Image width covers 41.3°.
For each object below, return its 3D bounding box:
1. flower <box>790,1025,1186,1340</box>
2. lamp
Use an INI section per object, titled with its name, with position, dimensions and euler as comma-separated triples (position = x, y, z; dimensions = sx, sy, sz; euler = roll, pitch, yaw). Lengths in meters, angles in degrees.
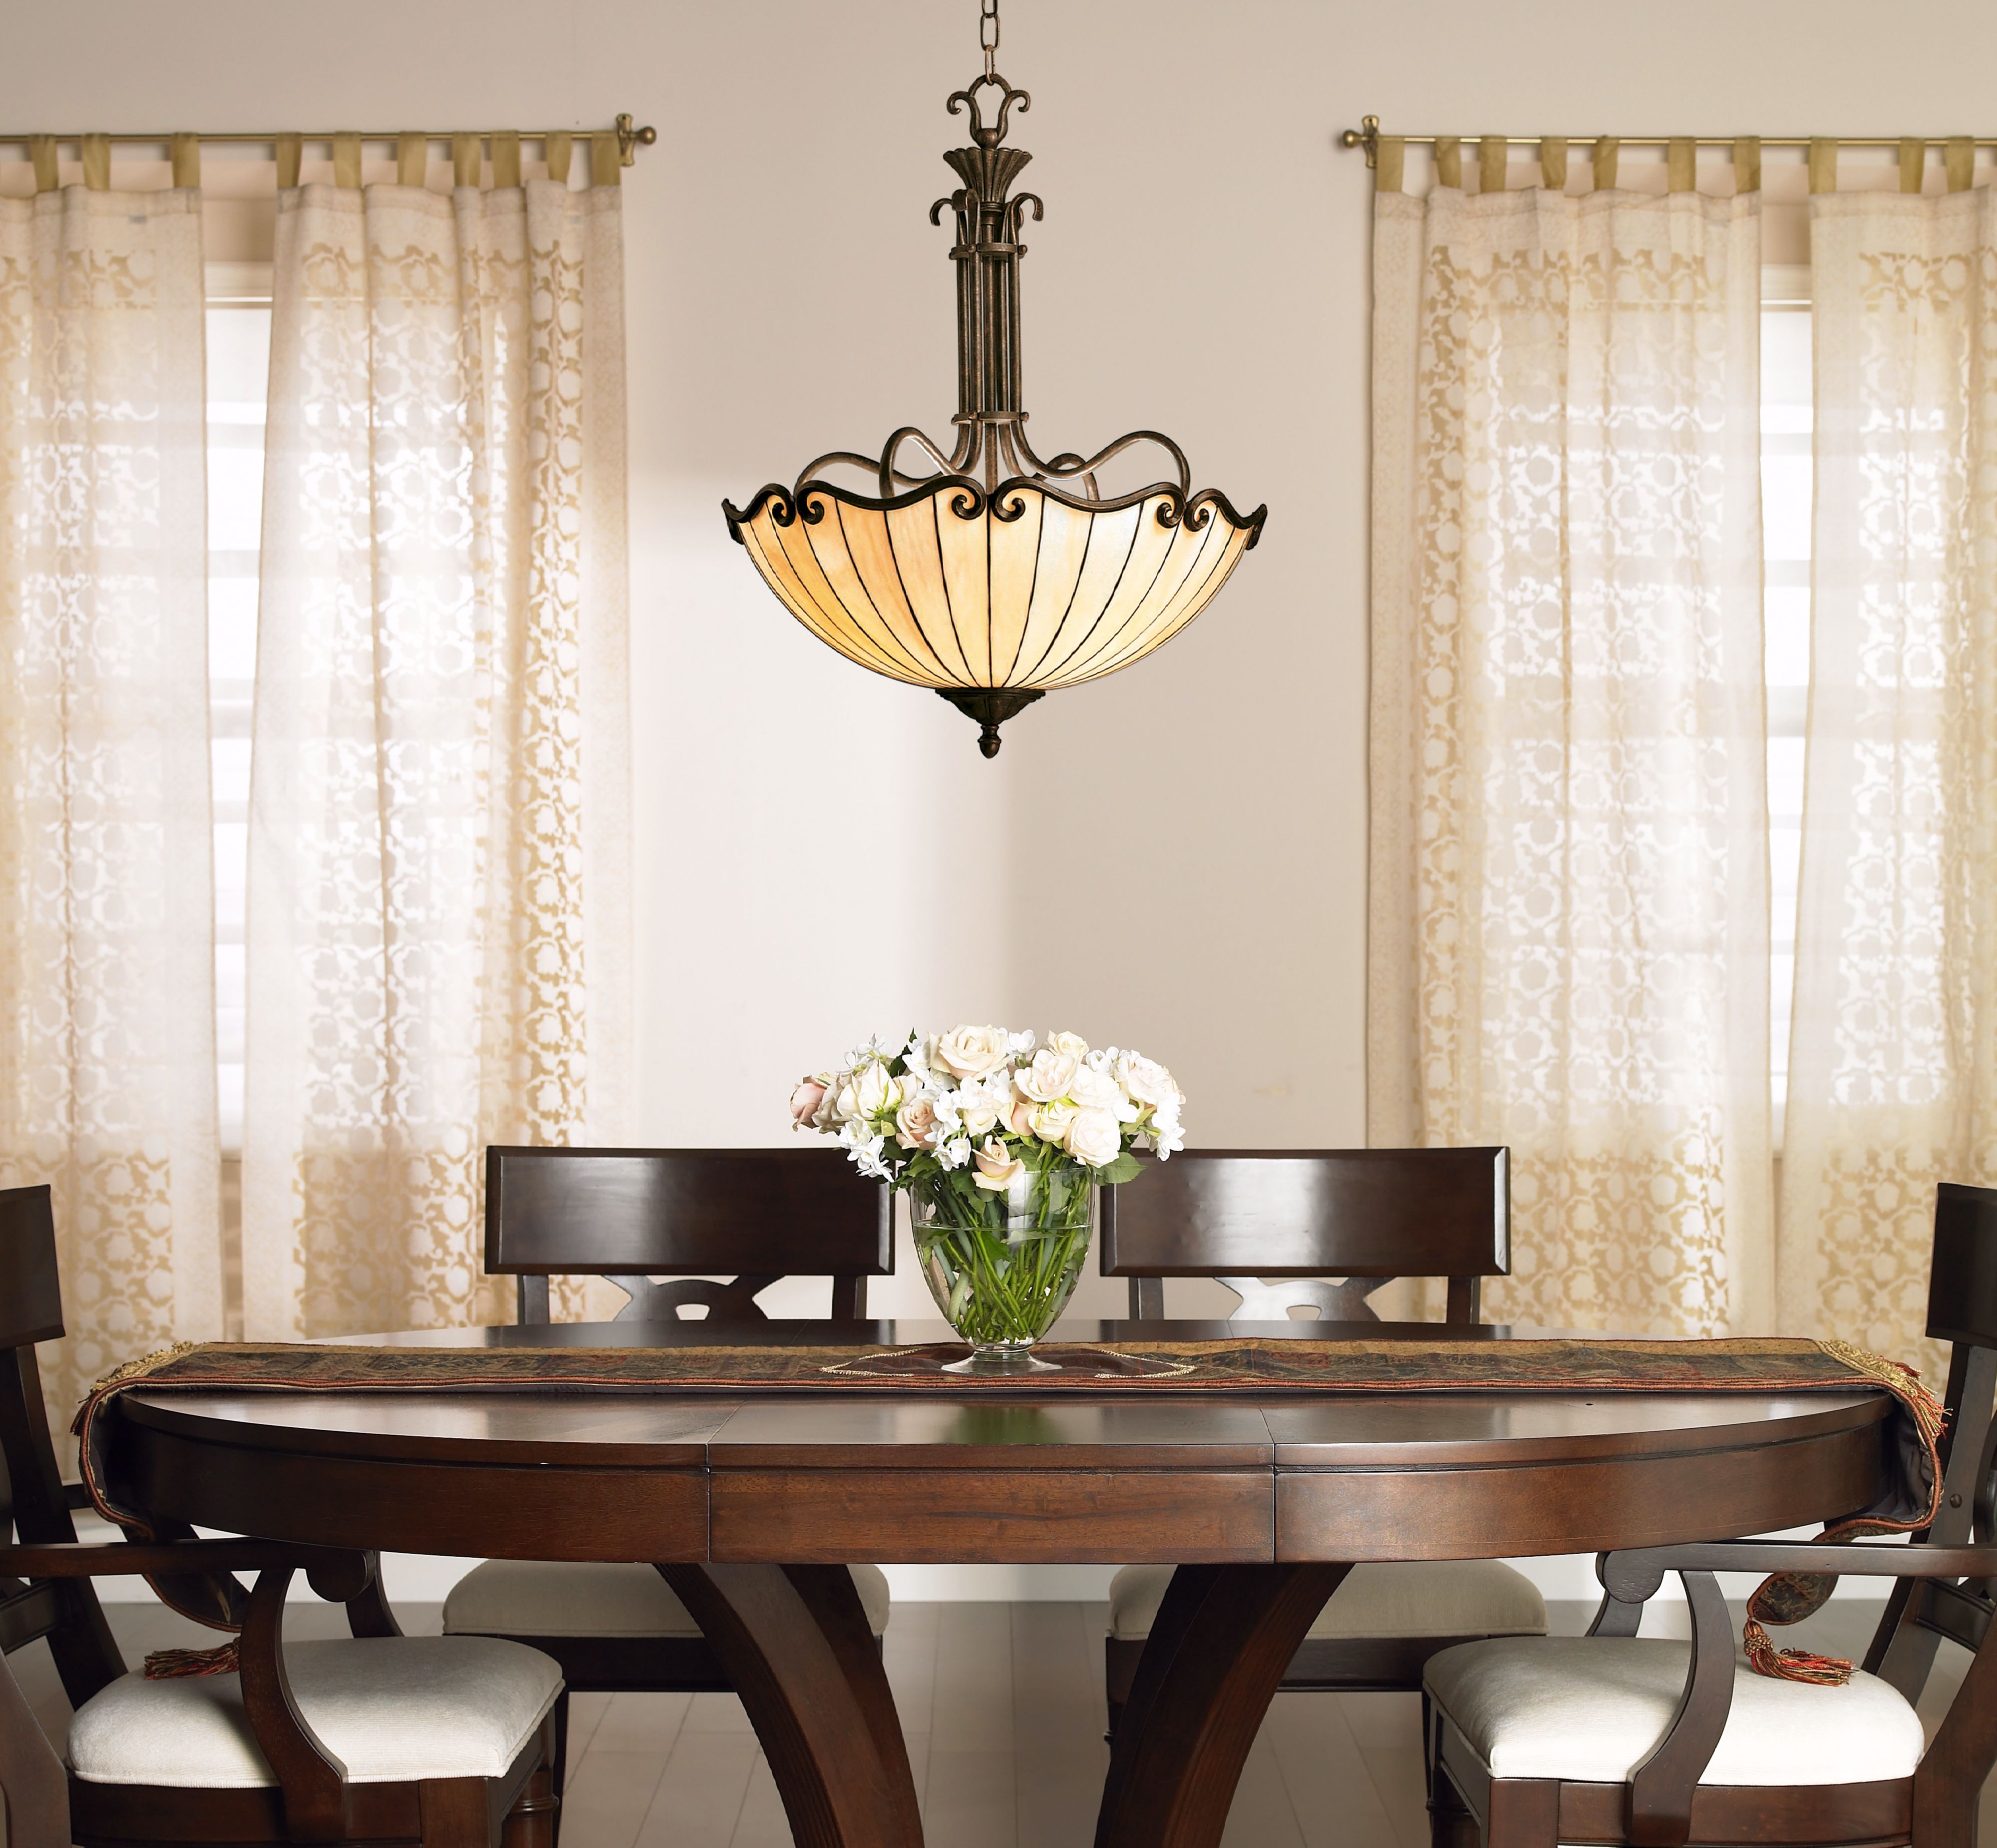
[flower]
position = 0.009, 0.304, 3.250
dimensions = 0.385, 0.347, 0.395
euler = 1, -7, -3
[lamp]
position = -0.067, -0.842, 3.754
dimensions = 0.665, 1.191, 1.278
euler = -1, 4, -8
